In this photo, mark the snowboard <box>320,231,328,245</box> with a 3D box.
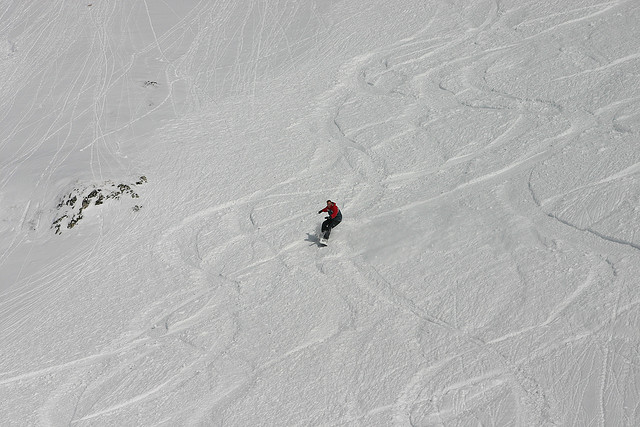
[{"bbox_3d":[0.276,0.973,31.181,0.471,0.419,0.230,4,21,1],"label":"snowboard"}]

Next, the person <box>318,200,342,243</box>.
[{"bbox_3d":[0.379,0.295,31.119,1.027,1.503,0.935,8,16,-1],"label":"person"}]
